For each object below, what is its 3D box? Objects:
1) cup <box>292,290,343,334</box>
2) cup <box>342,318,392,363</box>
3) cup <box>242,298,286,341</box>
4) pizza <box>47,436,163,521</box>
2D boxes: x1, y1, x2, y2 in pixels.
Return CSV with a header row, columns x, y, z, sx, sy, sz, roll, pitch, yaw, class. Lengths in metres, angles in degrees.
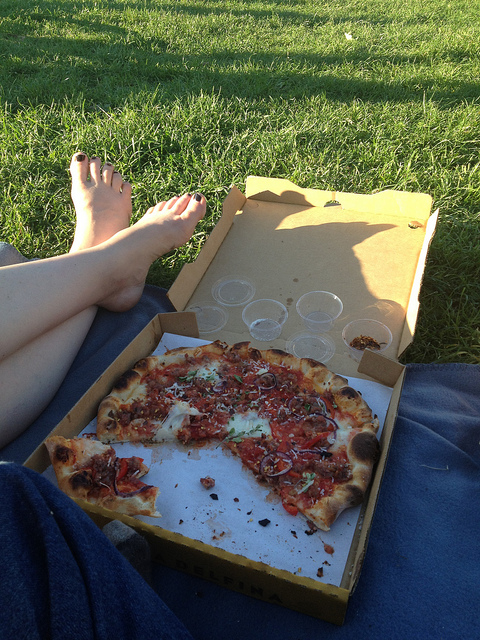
x,y,z,sx,sy,sz,roll,pitch,yaw,class
0.314,-0.013,2.361,0.181,0.085,0.173,-1,59,2,cup
0.488,0.074,2.189,0.183,0.103,0.192,2,24,-1,cup
0.102,-0.003,2.312,0.164,0.077,0.153,1,56,-1,cup
-0.361,0.466,1.567,0.309,0.084,0.209,16,21,8,pizza
